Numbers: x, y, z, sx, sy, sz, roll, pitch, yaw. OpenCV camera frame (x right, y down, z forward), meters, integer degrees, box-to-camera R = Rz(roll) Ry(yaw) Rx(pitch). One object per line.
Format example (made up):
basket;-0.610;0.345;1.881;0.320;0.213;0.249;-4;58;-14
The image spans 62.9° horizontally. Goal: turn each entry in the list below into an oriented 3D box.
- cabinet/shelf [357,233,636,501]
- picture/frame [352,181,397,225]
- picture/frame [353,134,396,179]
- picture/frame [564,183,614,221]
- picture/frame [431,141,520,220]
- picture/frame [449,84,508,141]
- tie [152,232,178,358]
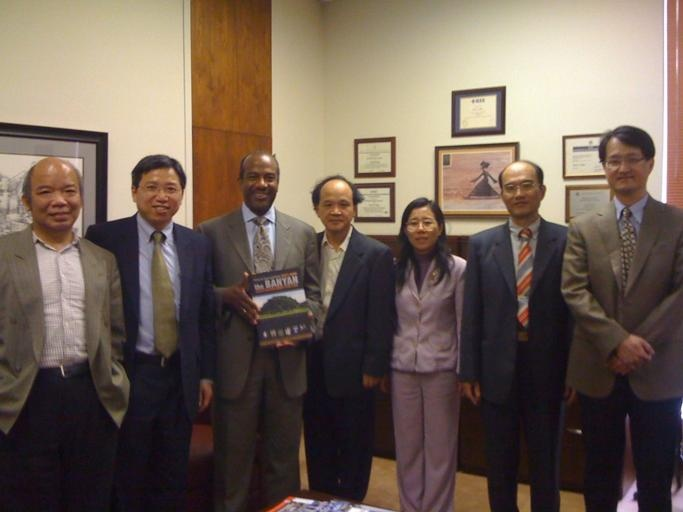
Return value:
cabinet/shelf;0.831;0.559;2.992;1.510;1.483;0.492;3;11;26
picture/frame;0.319;-0.493;5.046;0.474;0.484;0.050;1;2;19
picture/frame;0.328;-0.956;5.296;0.411;0.387;0.035;2;6;20
picture/frame;1.816;-0.410;4.094;0.411;0.415;0.041;-1;1;17
picture/frame;1.113;-0.626;4.572;0.808;0.726;0.080;0;5;21
picture/frame;1.190;-1.263;4.898;0.459;0.422;0.027;0;-5;15
tie;-0.873;0.181;2.735;0.111;0.589;0.219;-4;11;-18
